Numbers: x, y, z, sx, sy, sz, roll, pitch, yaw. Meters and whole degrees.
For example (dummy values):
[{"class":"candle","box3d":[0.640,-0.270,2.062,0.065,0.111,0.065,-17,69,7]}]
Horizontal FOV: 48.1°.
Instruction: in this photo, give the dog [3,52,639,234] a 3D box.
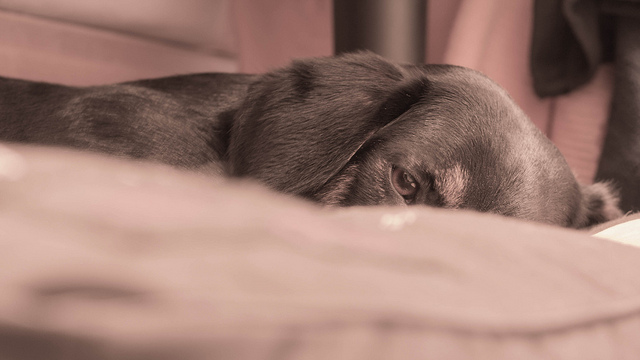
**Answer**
[{"class":"dog","box3d":[-0.194,-0.149,1.126,1.108,0.217,0.383,11,12,34]}]
